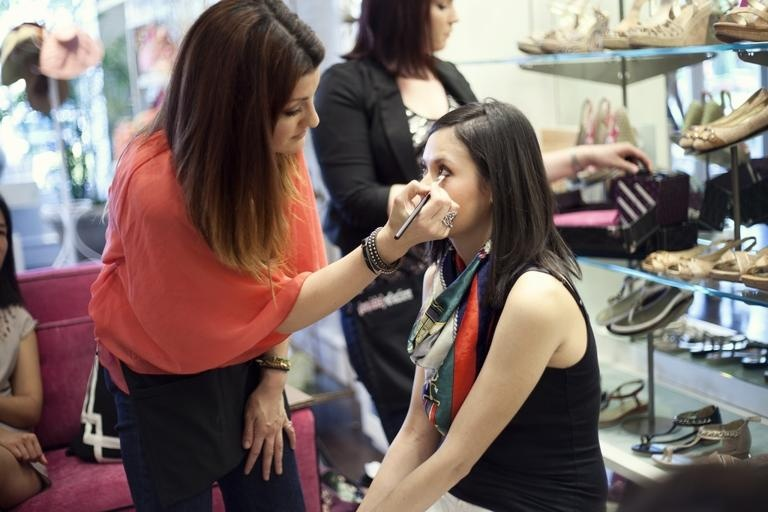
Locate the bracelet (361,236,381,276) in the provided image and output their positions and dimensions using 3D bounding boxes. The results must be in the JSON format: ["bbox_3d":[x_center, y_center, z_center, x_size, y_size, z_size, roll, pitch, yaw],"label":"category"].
[{"bbox_3d":[-0.031,-0.001,1.615,0.050,0.105,0.036,-3,8,-3],"label":"bracelet"}]

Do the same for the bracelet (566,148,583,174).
[{"bbox_3d":[0.620,-0.311,2.143,0.063,0.052,0.066,0,17,7],"label":"bracelet"}]

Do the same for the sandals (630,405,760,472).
[{"bbox_3d":[0.930,0.544,1.917,0.322,0.114,0.252,-18,2,-1],"label":"sandals"}]

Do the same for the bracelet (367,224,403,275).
[{"bbox_3d":[-0.005,-0.022,1.624,0.048,0.111,0.092,-17,-3,28],"label":"bracelet"}]

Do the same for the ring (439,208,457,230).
[{"bbox_3d":[0.160,-0.092,1.632,0.014,0.051,0.035,20,14,18],"label":"ring"}]
